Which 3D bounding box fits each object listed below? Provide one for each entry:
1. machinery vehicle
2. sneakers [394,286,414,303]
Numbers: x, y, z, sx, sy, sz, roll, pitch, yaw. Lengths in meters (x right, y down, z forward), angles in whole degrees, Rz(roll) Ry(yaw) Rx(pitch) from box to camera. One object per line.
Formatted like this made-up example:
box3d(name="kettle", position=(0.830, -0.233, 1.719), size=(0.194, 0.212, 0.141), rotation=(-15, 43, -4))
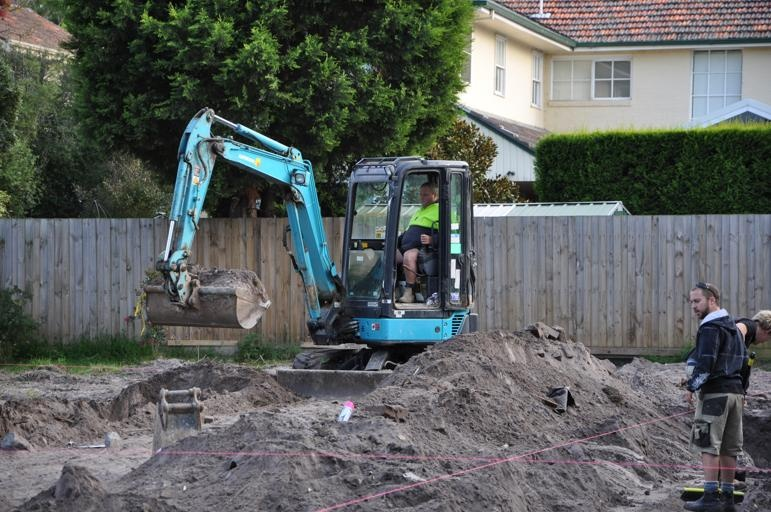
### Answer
box3d(name="machinery vehicle", position=(-1.335, -0.023, 22.928), size=(6.113, 4.602, 3.266), rotation=(1, -1, -40))
box3d(name="sneakers", position=(0.302, 0.733, 22.583), size=(0.369, 0.280, 0.162), rotation=(4, -4, -23))
